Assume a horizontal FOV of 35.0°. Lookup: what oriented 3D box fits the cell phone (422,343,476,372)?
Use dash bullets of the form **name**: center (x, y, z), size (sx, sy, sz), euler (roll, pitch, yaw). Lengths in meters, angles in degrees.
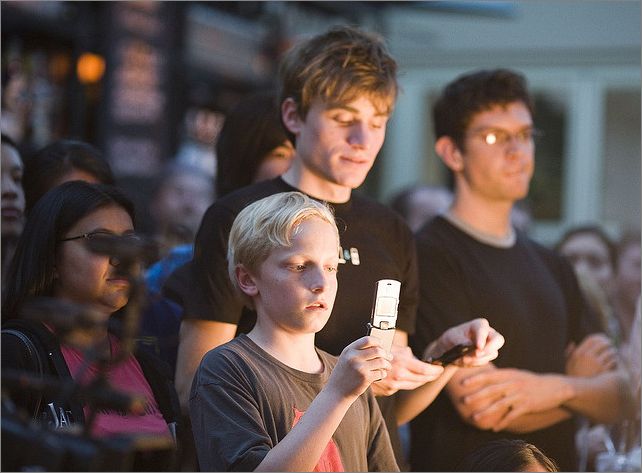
- **cell phone**: center (0.644, 0.608, 5.172), size (0.152, 0.126, 0.258), euler (5, -1, -22)
